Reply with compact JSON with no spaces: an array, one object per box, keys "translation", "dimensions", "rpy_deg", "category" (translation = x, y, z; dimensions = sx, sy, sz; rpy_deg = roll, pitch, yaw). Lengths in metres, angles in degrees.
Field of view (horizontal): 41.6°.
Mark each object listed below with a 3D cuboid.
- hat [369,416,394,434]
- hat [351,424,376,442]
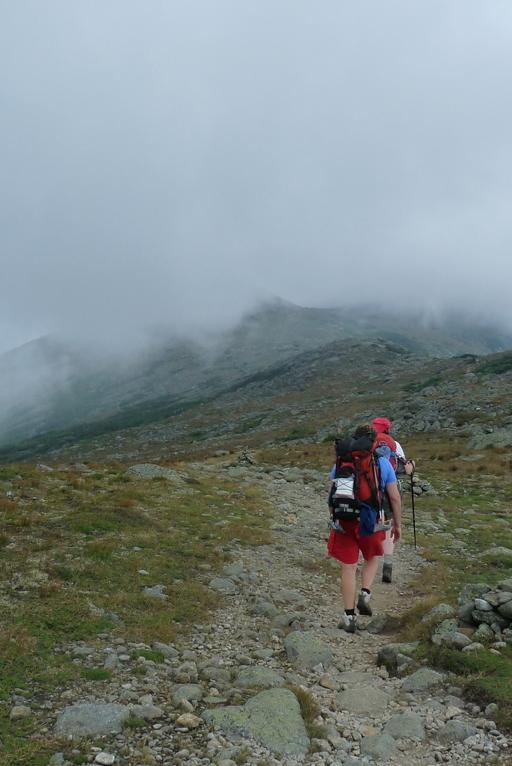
[{"translation":[2.803,0.947,15.048],"dimensions":[0.405,0.219,0.606],"rpy_deg":[0,0,16],"category":"hat"},{"translation":[2.158,1.007,13.531],"dimensions":[0.318,0.342,0.384],"rpy_deg":[3,6,20],"category":"hat"}]
